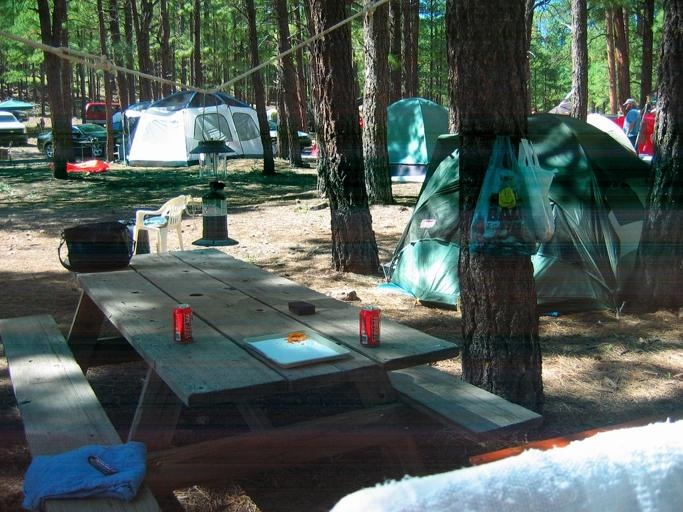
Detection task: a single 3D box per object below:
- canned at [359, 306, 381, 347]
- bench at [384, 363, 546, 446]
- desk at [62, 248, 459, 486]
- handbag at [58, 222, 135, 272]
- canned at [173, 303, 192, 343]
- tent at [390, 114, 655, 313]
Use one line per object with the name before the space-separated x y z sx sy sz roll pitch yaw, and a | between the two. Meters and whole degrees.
canned | 0.165 0.393 3.626 0.120 0.208 0.191 4 15 1
bench | 0.680 0.853 3.753 0.451 0.112 0.887 -5 14 -28
desk | -0.578 0.606 3.797 1.651 0.506 2.645 -2 10 -35
handbag | -2.098 -0.027 5.422 0.737 0.381 0.453 -4 -18 -16
canned | -0.903 0.374 3.589 0.100 0.209 0.154 -1 16 -14
tent | 2.361 -0.471 7.165 3.173 1.153 2.108 -10 14 -38
